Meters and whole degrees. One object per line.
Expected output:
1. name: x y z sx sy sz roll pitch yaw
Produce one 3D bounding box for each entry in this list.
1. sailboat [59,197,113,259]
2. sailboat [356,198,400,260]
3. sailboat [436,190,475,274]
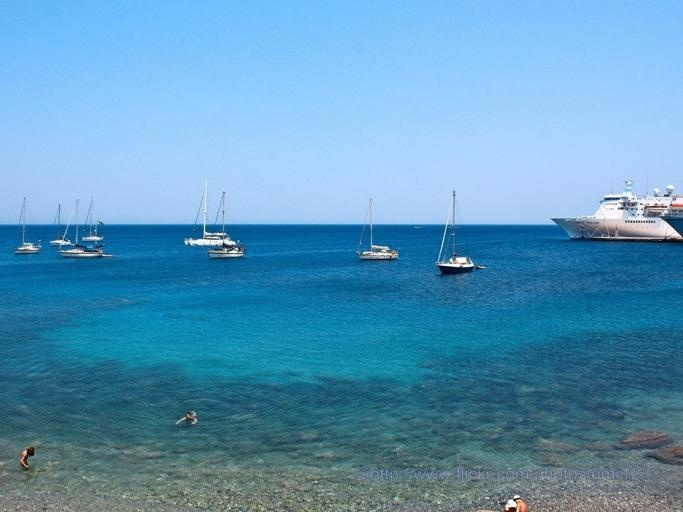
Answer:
1. sailboat: -44.462 -4.483 125.516 2.877 9.613 9.951 11 6 38
2. sailboat: 6.350 -4.023 121.828 8.117 9.338 3.022 1 8 29
3. sailboat: 14.817 -2.785 97.136 3.236 10.258 8.738 2 0 40
